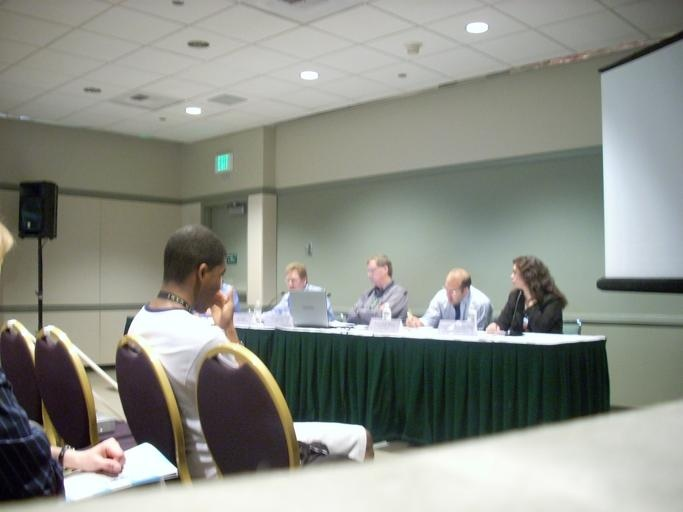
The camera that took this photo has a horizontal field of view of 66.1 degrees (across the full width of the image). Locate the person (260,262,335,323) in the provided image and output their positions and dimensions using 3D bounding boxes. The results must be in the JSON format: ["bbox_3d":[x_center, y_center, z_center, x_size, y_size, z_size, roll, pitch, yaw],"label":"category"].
[{"bbox_3d":[-0.417,0.504,4.965,0.612,0.853,0.343,-3,-1,8],"label":"person"}]

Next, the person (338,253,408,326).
[{"bbox_3d":[0.347,0.342,5.040,0.420,0.747,0.715,-8,7,-37],"label":"person"}]

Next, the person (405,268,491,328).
[{"bbox_3d":[0.932,0.389,4.547,0.491,0.701,0.698,0,0,41],"label":"person"}]

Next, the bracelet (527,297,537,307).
[{"bbox_3d":[1.421,0.345,3.908,0.052,0.046,0.051,1,-1,-43],"label":"bracelet"}]

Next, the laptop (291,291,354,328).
[{"bbox_3d":[-0.231,0.444,4.261,0.404,0.317,0.378,-1,-2,8],"label":"laptop"}]

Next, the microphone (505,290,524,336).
[{"bbox_3d":[1.256,0.418,3.940,0.103,0.345,0.233,2,31,4],"label":"microphone"}]

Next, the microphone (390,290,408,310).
[{"bbox_3d":[0.531,0.400,4.801,0.163,0.274,0.136,2,2,6],"label":"microphone"}]
